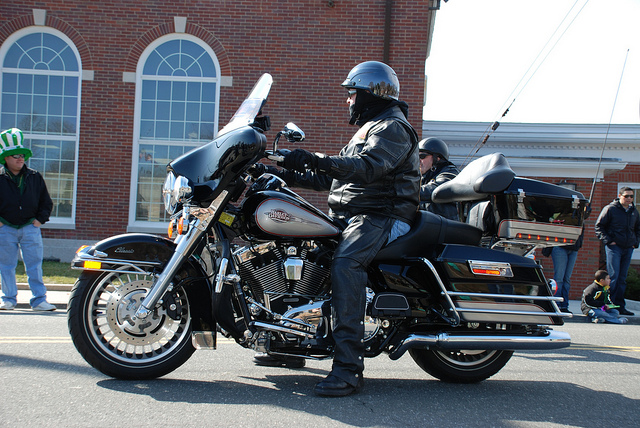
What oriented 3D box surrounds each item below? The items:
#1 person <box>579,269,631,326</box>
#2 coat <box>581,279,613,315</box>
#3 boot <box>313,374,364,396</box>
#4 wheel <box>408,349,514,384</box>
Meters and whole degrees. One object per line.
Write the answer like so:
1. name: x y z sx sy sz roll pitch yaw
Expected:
1. person: 5.197 1.550 14.726 1.137 0.993 0.896 2 -4 27
2. coat: 4.915 1.468 14.753 0.689 0.689 0.771 4 -2 18
3. boot: 0.186 2.009 9.515 0.581 0.181 0.233 7 -10 -16
4. wheel: 1.764 1.897 10.055 0.811 0.627 0.159 -8 -33 -13
